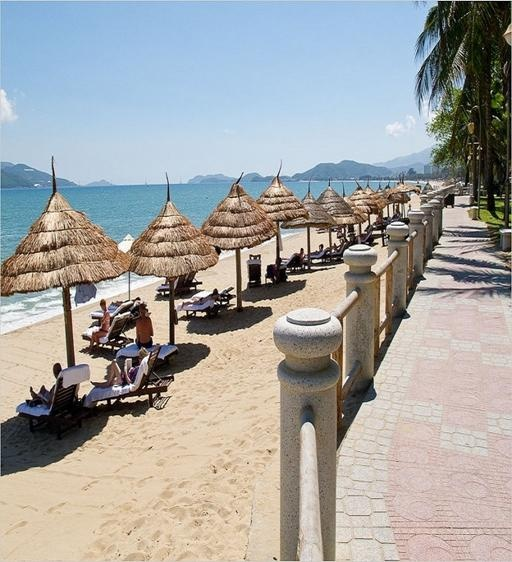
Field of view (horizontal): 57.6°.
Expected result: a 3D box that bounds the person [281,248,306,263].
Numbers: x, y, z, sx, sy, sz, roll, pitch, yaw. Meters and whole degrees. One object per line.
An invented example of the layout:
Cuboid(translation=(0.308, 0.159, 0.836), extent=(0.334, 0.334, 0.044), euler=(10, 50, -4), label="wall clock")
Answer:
Cuboid(translation=(1.463, -1.059, 21.036), extent=(1.478, 0.842, 0.685), euler=(0, 5, 16), label="person")

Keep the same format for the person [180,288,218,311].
Cuboid(translation=(-1.715, 0.586, 14.632), extent=(0.685, 0.400, 0.997), euler=(-1, -2, 21), label="person")

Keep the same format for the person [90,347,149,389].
Cuboid(translation=(-2.627, 1.713, 9.078), extent=(1.256, 0.829, 0.541), euler=(1, 4, 9), label="person")

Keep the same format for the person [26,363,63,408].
Cuboid(translation=(-3.777, 1.879, 8.255), extent=(0.667, 0.600, 1.062), euler=(-15, 8, -23), label="person")
